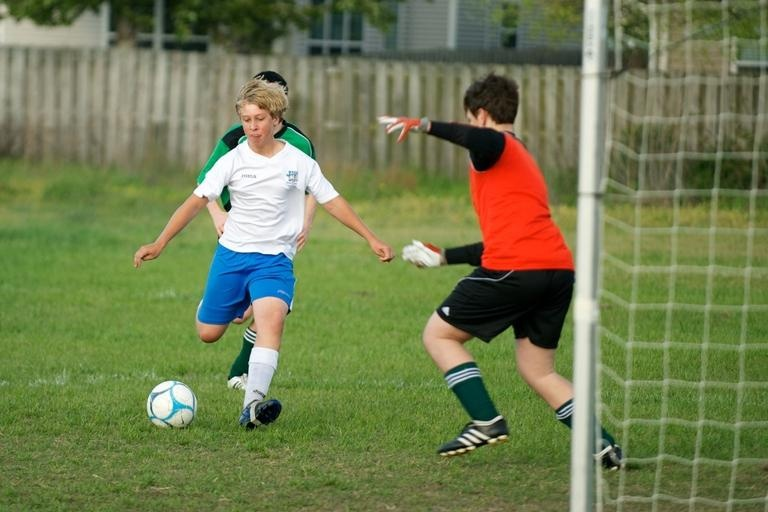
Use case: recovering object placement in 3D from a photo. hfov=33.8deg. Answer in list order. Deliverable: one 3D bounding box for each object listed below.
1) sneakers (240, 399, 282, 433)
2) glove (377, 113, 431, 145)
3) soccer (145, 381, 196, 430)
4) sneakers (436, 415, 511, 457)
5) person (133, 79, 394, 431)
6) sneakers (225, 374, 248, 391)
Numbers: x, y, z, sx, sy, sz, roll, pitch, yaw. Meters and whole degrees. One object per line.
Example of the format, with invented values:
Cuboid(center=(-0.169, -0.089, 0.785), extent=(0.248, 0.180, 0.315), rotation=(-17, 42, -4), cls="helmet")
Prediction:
Cuboid(center=(-1.043, 1.385, 10.879), extent=(0.456, 0.172, 0.215), rotation=(-17, 5, 41), cls="sneakers")
Cuboid(center=(0.191, -1.060, 10.432), extent=(0.380, 0.322, 0.110), rotation=(-11, -7, 9), cls="glove")
Cuboid(center=(-1.811, 1.278, 10.981), extent=(0.389, 0.401, 0.396), rotation=(0, -1, 45), cls="soccer")
Cuboid(center=(0.759, 1.482, 10.391), extent=(0.672, 0.295, 0.248), rotation=(-21, -1, 2), cls="sneakers")
Cuboid(center=(-1.064, -0.007, 10.976), extent=(1.507, 2.993, 0.644), rotation=(4, 7, 9), cls="person")
Cuboid(center=(-1.330, 1.172, 11.701), extent=(0.226, 0.107, 0.126), rotation=(-7, 5, 33), cls="sneakers")
